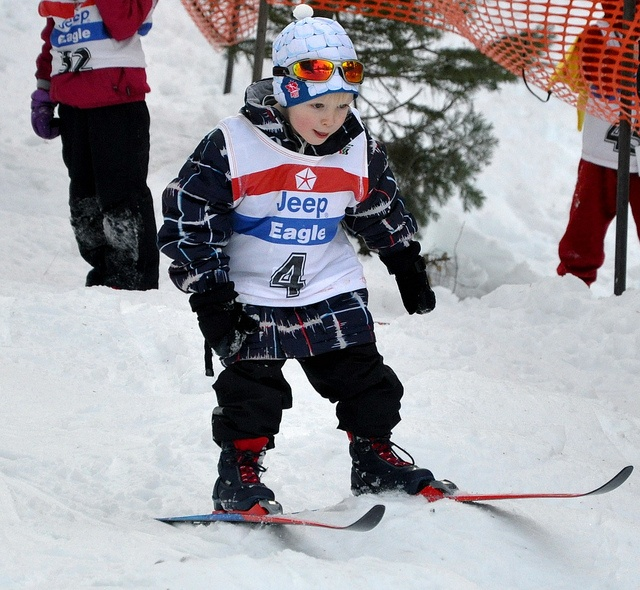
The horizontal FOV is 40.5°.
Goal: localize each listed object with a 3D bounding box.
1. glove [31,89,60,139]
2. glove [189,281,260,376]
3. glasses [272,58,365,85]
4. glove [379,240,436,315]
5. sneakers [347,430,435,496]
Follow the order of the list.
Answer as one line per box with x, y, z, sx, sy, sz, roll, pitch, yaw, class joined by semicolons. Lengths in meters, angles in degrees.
-1.565;-1.035;4.970;0.208;0.247;0.110;13;1;4;glove
-0.332;0.103;3.135;0.253;0.361;0.220;-10;3;17;glove
-0.008;-0.797;3.050;0.317;0.091;0.146;6;16;-2;glasses
0.363;-0.073;3.463;0.186;0.301;0.113;-23;3;15;glove
0.248;0.617;3.244;0.147;0.275;0.420;0;-12;-36;sneakers
